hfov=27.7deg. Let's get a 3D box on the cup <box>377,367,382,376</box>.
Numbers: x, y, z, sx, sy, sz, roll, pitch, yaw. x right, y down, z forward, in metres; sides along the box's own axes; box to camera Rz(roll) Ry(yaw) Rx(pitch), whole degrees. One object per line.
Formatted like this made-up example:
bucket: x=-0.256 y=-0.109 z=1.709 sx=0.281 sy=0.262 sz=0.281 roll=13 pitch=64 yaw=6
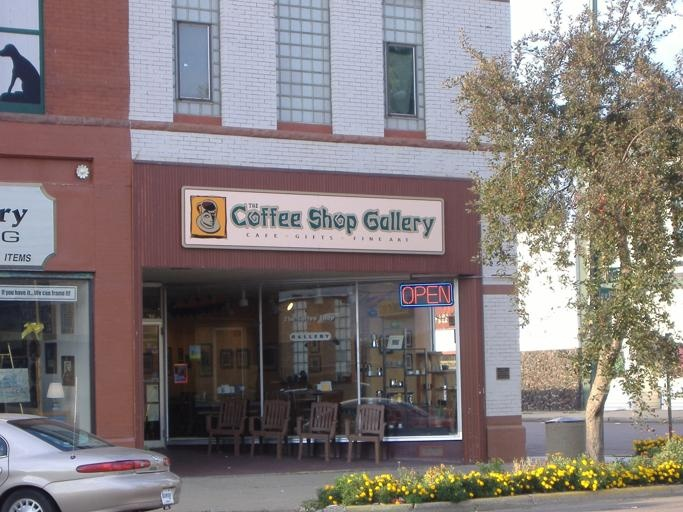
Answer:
cup: x=0.831 y=2.541 z=30.366 sx=0.123 sy=0.149 sz=0.127 roll=1 pitch=-1 yaw=0
